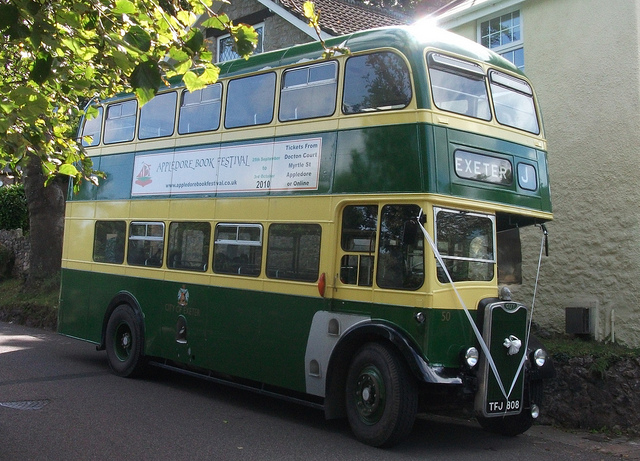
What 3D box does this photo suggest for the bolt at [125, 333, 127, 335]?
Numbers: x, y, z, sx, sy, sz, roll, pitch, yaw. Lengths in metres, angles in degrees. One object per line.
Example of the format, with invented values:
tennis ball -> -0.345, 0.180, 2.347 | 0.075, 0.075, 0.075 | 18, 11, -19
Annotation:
bolt -> -4.292, 2.274, 9.534 | 0.043, 0.011, 0.044 | 2, 3, 40

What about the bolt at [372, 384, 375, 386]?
bolt -> 0.728, 2.081, 5.859 | 0.036, 0.040, 0.070 | 3, -5, 11

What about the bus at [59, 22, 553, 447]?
bus -> -0.250, 0.225, 6.870 | 7.350, 4.461, 2.947 | 1, -2, 44

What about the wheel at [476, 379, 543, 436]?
wheel -> 2.971, 2.721, 6.749 | 0.452, 0.982, 0.902 | 4, -6, -33

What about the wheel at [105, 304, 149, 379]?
wheel -> -4.147, 2.405, 9.358 | 0.483, 1.591, 1.339 | 4, 6, -43

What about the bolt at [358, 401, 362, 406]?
bolt -> 0.559, 2.412, 6.062 | 0.011, 0.050, 0.044 | 2, 7, -39
